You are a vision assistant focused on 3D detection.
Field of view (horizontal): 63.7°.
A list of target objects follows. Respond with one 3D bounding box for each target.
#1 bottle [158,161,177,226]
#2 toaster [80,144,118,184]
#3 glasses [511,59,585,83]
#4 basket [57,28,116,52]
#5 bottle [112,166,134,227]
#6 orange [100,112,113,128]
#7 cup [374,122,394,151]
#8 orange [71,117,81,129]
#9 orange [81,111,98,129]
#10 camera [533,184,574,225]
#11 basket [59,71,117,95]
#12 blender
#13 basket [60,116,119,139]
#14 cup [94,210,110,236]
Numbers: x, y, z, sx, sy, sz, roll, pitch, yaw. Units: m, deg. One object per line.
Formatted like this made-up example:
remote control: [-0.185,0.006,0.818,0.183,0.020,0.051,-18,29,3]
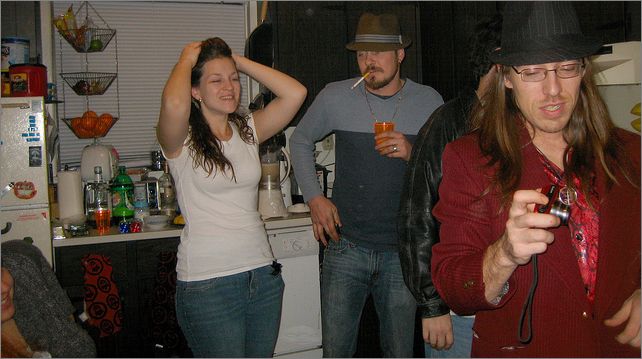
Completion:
bottle: [-1.274,0.069,4.278,0.129,0.454,0.145,-2,1,-10]
toaster: [-1.817,-0.143,4.234,0.291,0.289,0.310,-3,7,-16]
glasses: [1.088,-0.504,2.428,0.296,0.105,0.153,-1,3,9]
basket: [-1.963,-1.181,4.347,0.430,0.191,0.320,-5,6,-22]
bottle: [-1.619,0.135,4.187,0.215,0.454,0.205,-1,2,0]
orange: [-1.762,-0.490,4.235,0.106,0.108,0.099,0,1,-3]
cup: [0.405,-0.277,3.292,0.129,0.178,0.197,-3,5,8]
orange: [-1.988,-0.470,4.205,0.079,0.066,0.074,3,4,-9]
orange: [-1.894,-0.478,4.207,0.124,0.150,0.095,-6,5,-27]
camera: [1.029,0.099,2.320,0.165,0.161,0.193,8,10,29]
basket: [-1.980,-0.823,4.397,0.433,0.184,0.169,-5,5,-22]
blender: [-0.368,-0.050,4.148,0.241,0.662,0.204,1,3,17]
basket: [-1.889,-0.428,4.228,0.479,0.163,0.265,-2,6,-24]
cup: [-1.651,0.319,3.900,0.095,0.161,0.264,-6,6,-25]
